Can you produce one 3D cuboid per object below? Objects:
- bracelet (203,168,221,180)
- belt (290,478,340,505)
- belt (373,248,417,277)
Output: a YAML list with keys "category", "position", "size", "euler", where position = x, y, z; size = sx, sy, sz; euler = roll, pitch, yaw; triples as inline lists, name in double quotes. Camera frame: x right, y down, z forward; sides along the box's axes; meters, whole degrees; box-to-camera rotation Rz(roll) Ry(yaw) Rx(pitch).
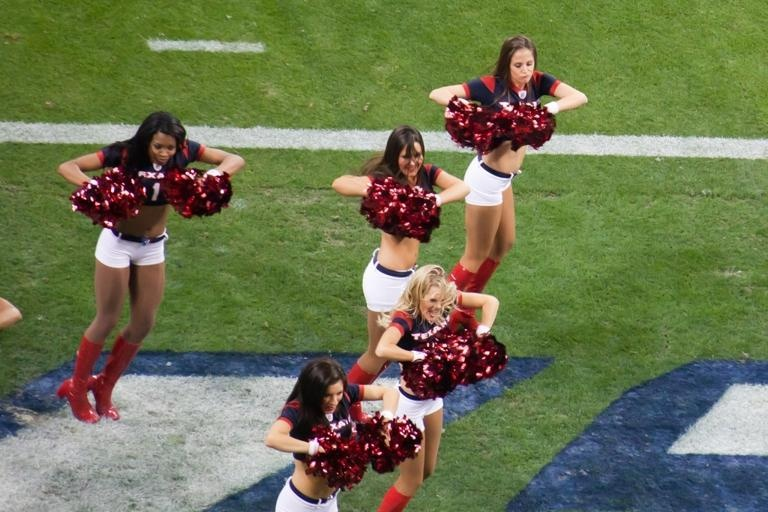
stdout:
- category: "bracelet"
  position: [-1.659, -0.803, 9.112]
  size: [0.112, 0.073, 0.108]
  euler: [3, 8, -7]
- category: "belt"
  position: [-0.626, 2.075, 8.150]
  size: [0.276, 0.266, 0.061]
  euler: [29, 61, -19]
- category: "belt"
  position: [0.096, 0.016, 9.056]
  size: [0.321, 0.077, 0.319]
  euler: [27, 33, 15]
